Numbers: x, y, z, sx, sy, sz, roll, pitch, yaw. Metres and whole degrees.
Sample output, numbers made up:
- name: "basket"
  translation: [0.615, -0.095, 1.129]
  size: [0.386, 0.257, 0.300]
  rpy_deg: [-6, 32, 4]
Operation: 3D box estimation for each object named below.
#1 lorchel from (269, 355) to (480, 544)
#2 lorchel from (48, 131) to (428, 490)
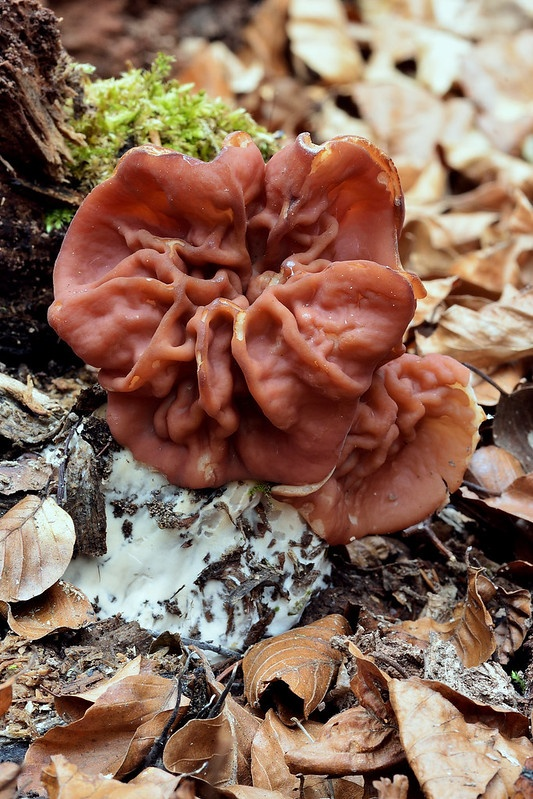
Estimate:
- name: "lorchel"
  translation: [0.503, 0.298, 3.631]
  size: [1.045, 0.363, 0.743]
  rpy_deg: [-29, 52, 2]
- name: "lorchel"
  translation: [-0.142, -0.350, 3.315]
  size: [1.416, 1.246, 1.076]
  rpy_deg: [13, 50, 7]
